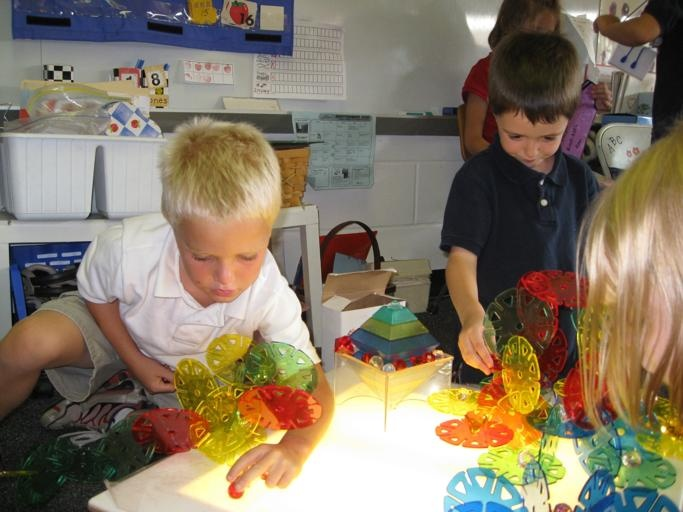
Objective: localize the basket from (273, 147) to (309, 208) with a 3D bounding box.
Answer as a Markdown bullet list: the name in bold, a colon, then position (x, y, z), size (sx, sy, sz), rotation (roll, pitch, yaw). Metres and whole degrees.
- **basket**: position (-0.178, -0.297, 1.868), size (0.152, 0.203, 0.047), rotation (-10, 23, -30)

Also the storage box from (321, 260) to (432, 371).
- **storage box**: position (0.087, 0.157, 1.447), size (0.304, 0.355, 0.121), rotation (-11, 20, -35)
